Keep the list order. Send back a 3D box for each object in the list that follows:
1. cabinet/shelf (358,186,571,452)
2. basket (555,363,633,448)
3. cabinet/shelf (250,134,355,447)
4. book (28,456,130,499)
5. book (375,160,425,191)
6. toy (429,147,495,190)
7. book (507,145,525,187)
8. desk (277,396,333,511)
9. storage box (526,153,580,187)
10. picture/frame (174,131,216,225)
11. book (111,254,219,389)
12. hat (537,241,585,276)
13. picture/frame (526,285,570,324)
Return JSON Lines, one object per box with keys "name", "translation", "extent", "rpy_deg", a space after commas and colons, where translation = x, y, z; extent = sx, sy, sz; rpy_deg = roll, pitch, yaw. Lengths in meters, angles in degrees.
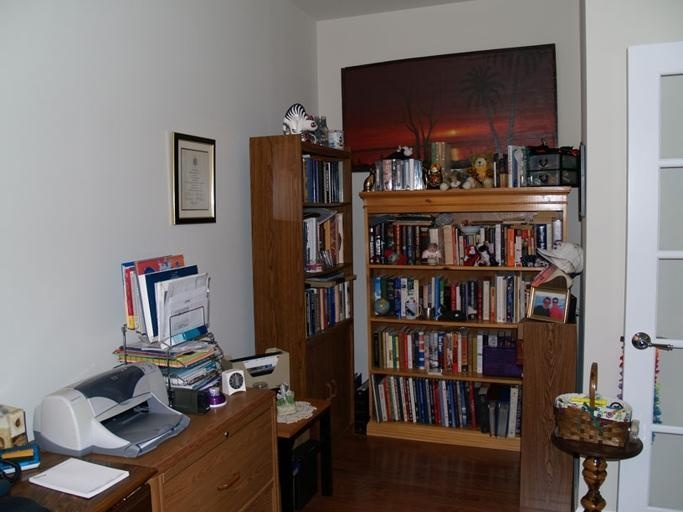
{"name": "cabinet/shelf", "translation": [0.874, 0.448, 3.838], "extent": [1.718, 2.237, 0.566], "rpy_deg": [1, 2, 18]}
{"name": "basket", "translation": [1.208, 0.688, 2.671], "extent": [0.336, 0.394, 0.218], "rpy_deg": [4, 11, 25]}
{"name": "cabinet/shelf", "translation": [-0.253, 0.274, 3.890], "extent": [0.526, 2.191, 0.920], "rpy_deg": [2, 10, 19]}
{"name": "book", "translation": [-0.963, 0.813, 2.018], "extent": [0.336, 0.032, 0.161], "rpy_deg": [2, 11, 19]}
{"name": "book", "translation": [0.425, -0.592, 4.054], "extent": [0.260, 0.174, 0.270], "rpy_deg": [0, 4, 19]}
{"name": "toy", "translation": [0.861, -0.657, 3.978], "extent": [0.420, 0.325, 0.464], "rpy_deg": [-8, 12, -35]}
{"name": "book", "translation": [1.186, -0.611, 3.744], "extent": [0.117, 0.277, 0.104], "rpy_deg": [1, 10, 11]}
{"name": "desk", "translation": [-0.220, 1.194, 3.133], "extent": [0.189, 0.612, 0.583], "rpy_deg": [2, 10, 18]}
{"name": "storage box", "translation": [1.399, -0.574, 3.662], "extent": [0.353, 0.267, 0.200], "rpy_deg": [1, 4, 13]}
{"name": "picture/frame", "translation": [-0.841, -0.437, 3.133], "extent": [0.066, 0.509, 0.375], "rpy_deg": [2, 10, 17]}
{"name": "book", "translation": [-0.774, 0.292, 2.798], "extent": [0.561, 0.713, 0.506], "rpy_deg": [0, 3, 21]}
{"name": "hat", "translation": [1.345, 0.032, 3.408], "extent": [0.256, 0.214, 0.244], "rpy_deg": [3, 11, 21]}
{"name": "picture/frame", "translation": [1.209, 0.291, 3.239], "extent": [0.182, 0.180, 0.020], "rpy_deg": [9, -8, 29]}
